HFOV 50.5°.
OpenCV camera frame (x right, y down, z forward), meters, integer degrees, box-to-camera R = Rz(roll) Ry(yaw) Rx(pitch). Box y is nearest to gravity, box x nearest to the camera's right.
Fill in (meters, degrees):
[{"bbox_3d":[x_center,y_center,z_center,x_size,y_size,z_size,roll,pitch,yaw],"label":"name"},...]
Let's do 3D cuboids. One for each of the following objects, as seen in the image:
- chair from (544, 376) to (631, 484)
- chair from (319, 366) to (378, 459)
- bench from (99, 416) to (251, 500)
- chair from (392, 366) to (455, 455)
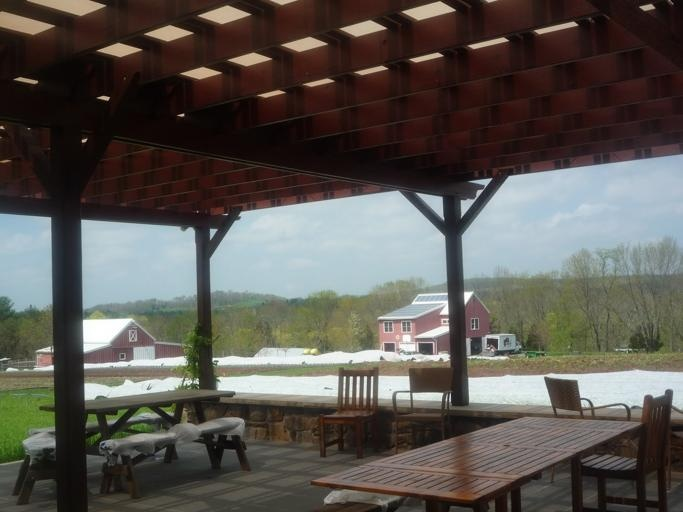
[{"bbox_3d":[2.277,1.592,6.724,0.645,0.998,0.578,-6,1,-13],"label":"chair"},{"bbox_3d":[0.095,1.792,8.226,0.696,1.025,0.765,3,-9,-21],"label":"chair"},{"bbox_3d":[-1.673,2.035,7.341,0.460,0.605,1.642,-11,-10,37],"label":"bench"},{"bbox_3d":[0.896,1.728,7.883,0.555,1.011,0.646,-1,-8,17],"label":"chair"}]
